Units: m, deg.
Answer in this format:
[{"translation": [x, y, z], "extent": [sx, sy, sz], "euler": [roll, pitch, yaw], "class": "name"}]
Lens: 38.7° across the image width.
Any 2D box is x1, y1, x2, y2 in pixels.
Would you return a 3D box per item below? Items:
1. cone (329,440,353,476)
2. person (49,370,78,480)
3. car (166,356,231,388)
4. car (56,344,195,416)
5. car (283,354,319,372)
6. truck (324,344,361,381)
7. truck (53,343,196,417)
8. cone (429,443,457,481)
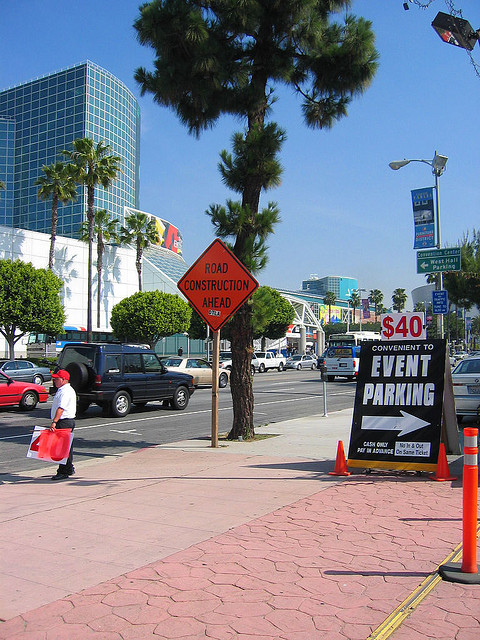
[{"translation": [1.286, 1.755, 8.749], "extent": [0.278, 0.436, 0.441], "euler": [2, -2, 19], "class": "cone"}, {"translation": [-2.330, 1.380, 9.013], "extent": [0.364, 1.094, 0.603], "euler": [2, -1, -15], "class": "person"}, {"translation": [-1.741, 1.986, 27.673], "extent": [2.940, 1.171, 1.422], "euler": [-2, 1, -39], "class": "car"}, {"translation": [-2.750, 1.501, 17.677], "extent": [1.444, 1.424, 3.010], "euler": [0, 0, 34], "class": "car"}, {"translation": [4.864, 3.575, 57.012], "extent": [1.278, 1.085, 3.048], "euler": [-5, -8, 36], "class": "car"}, {"translation": [5.377, 2.232, 36.285], "extent": [1.920, 1.689, 0.571], "euler": [1, -2, 41], "class": "truck"}, {"translation": [-2.691, 1.542, 16.788], "extent": [1.594, 1.691, 3.506], "euler": [-1, 0, 36], "class": "truck"}, {"translation": [2.445, 1.717, 8.242], "extent": [0.311, 0.425, 0.260], "euler": [3, -1, -15], "class": "cone"}]
